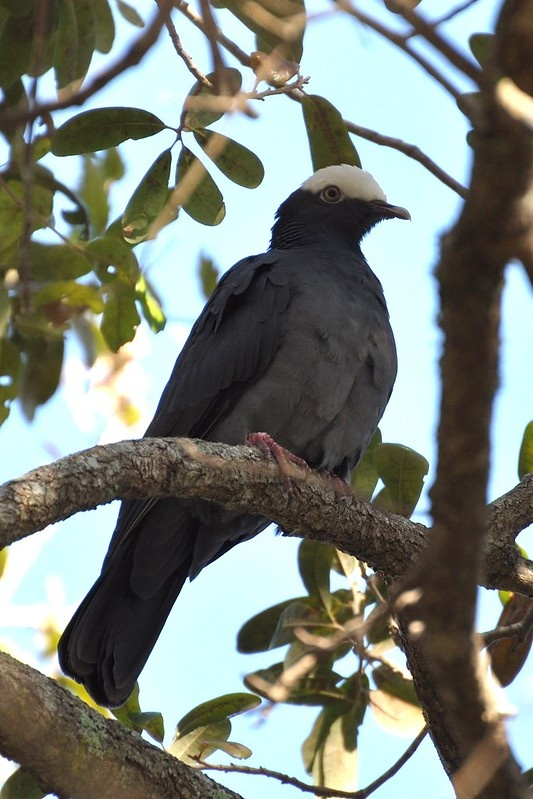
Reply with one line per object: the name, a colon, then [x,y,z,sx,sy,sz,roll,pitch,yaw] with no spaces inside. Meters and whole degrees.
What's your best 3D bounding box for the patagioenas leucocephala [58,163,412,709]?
patagioenas leucocephala: [-0.005,0.056,5.350,0.851,2.527,1.505,24,-57,-7]
